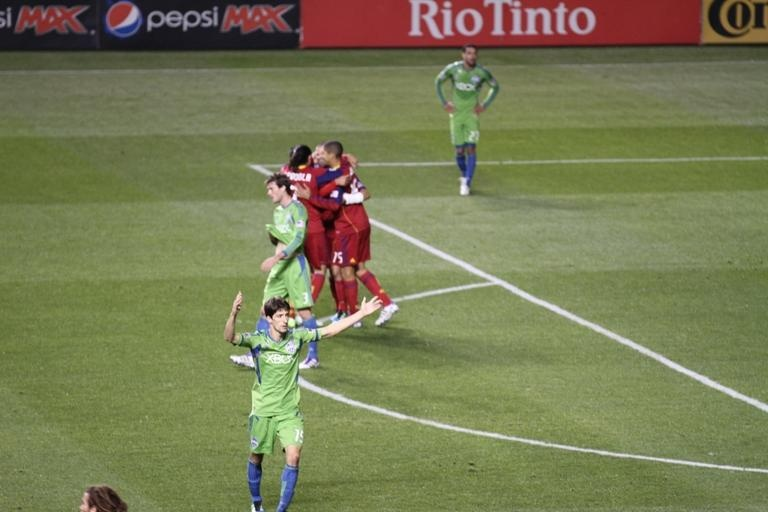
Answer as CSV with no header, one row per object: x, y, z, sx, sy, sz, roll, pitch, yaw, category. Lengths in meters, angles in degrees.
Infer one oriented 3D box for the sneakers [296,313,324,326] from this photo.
-1.445,1.219,29.782,0.294,0.273,0.288,0,1,2,sneakers

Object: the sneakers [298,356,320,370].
-1.360,1.917,28.663,0.439,0.193,0.153,-4,24,11,sneakers

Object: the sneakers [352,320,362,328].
-0.514,1.278,29.840,0.135,0.061,0.168,-7,2,0,sneakers
